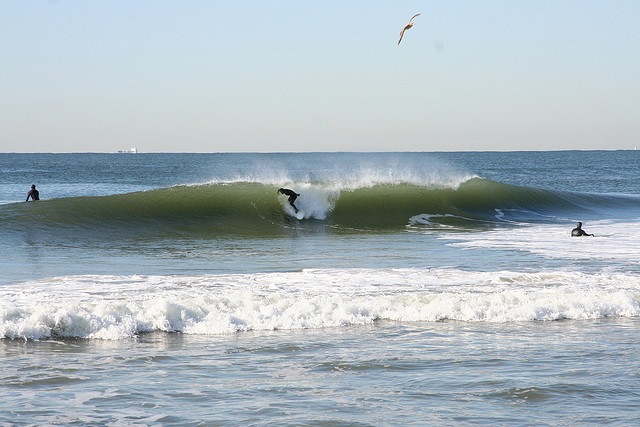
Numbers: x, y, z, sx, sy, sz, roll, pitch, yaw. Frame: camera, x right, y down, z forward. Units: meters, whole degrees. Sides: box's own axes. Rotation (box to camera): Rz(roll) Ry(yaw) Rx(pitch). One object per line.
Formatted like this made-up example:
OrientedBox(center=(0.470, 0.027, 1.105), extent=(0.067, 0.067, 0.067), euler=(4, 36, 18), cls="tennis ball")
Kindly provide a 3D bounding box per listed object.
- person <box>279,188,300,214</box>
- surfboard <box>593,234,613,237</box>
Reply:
OrientedBox(center=(-0.964, -0.398, 34.097), extent=(0.541, 0.830, 0.354), euler=(-27, 27, 15), cls="person")
OrientedBox(center=(7.626, 0.566, 30.027), extent=(0.482, 0.059, 0.532), euler=(-1, 0, 20), cls="surfboard")
